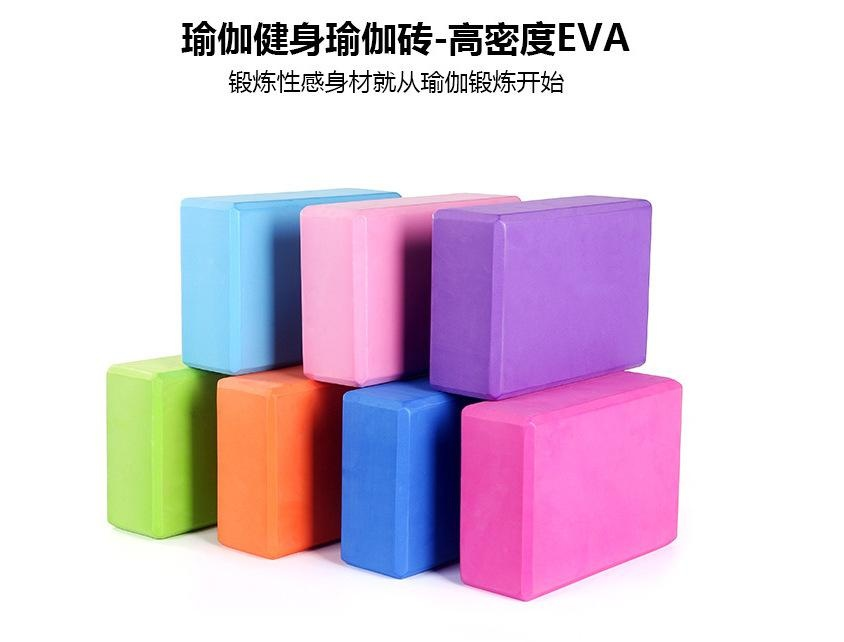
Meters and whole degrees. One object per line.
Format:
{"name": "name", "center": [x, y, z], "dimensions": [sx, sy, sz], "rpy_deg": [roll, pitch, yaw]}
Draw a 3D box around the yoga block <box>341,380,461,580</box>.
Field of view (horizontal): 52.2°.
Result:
{"name": "yoga block", "center": [-0.053, 0.428, 2.284], "dimensions": [0.319, 0.479, 0.150], "rpy_deg": [0, 8, 2]}
